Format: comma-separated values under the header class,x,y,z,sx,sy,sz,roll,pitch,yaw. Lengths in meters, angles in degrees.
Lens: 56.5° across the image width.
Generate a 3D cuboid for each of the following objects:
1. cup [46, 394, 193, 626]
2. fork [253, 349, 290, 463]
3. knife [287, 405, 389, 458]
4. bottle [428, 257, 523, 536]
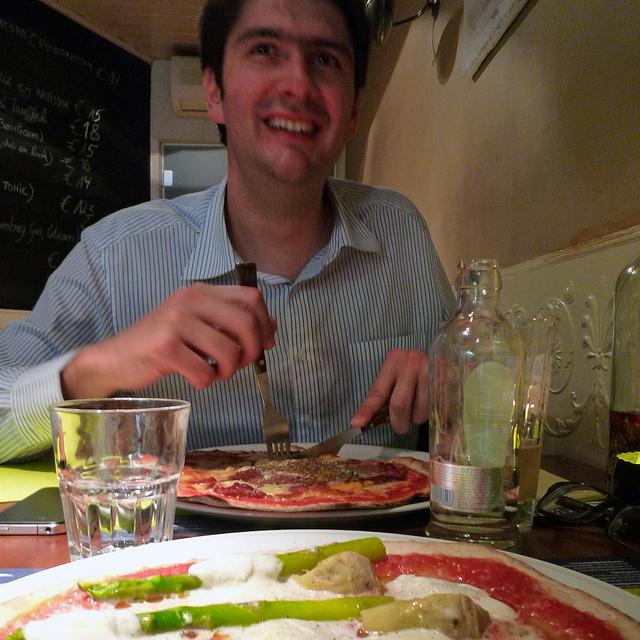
class,x,y,z,sx,sy,sz,roll,pitch,yaw
cup,-0.193,0.165,0.549,0.085,0.143,0.086,-1,-6,0
fork,-0.093,0.145,1.085,0.043,0.037,0.342,-14,32,-6
knife,0.035,0.239,1.256,0.279,0.042,0.026,-24,-22,-32
bottle,0.145,0.076,0.648,0.090,0.276,0.158,3,-3,-22
